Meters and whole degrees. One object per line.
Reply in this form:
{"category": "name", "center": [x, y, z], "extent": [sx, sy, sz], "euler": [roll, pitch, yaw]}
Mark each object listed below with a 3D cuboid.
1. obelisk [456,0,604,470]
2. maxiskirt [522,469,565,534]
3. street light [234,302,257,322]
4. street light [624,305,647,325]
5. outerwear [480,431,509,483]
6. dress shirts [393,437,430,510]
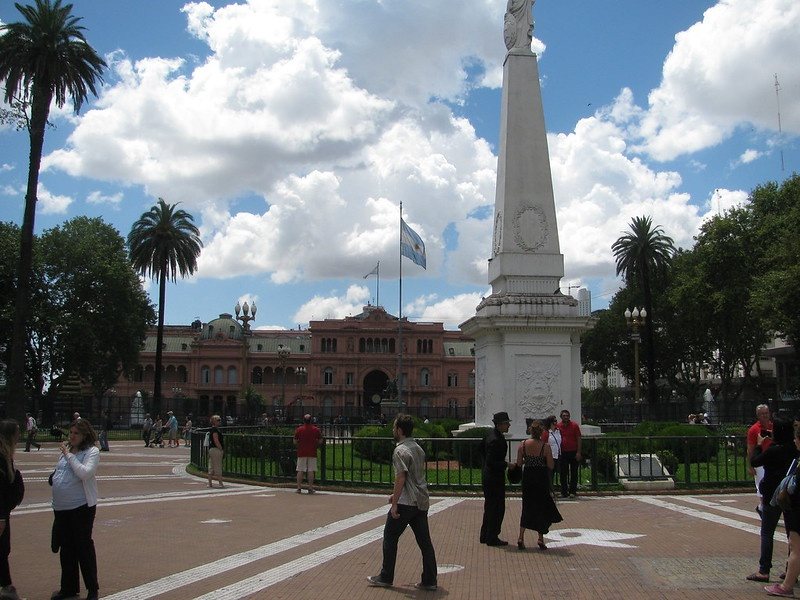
{"category": "obelisk", "center": [4.230, -3.414, 26.089], "extent": [3.513, 16.023, 2.101], "euler": [-2, -8, 9]}
{"category": "maxiskirt", "center": [2.437, 3.522, 13.250], "extent": [0.664, 1.156, 0.259], "euler": [-2, -8, 11]}
{"category": "street light", "center": [-9.543, 0.784, 46.527], "extent": [1.337, 1.829, 0.481], "euler": [1, -13, -10]}
{"category": "street light", "center": [14.901, 0.926, 47.810], "extent": [1.355, 1.737, 0.449], "euler": [3, -12, -8]}
{"category": "outerwear", "center": [1.717, 2.905, 13.713], "extent": [0.434, 1.087, 0.711], "euler": [-3, 8, 2]}
{"category": "dress shirts", "center": [0.151, 2.655, 11.474], "extent": [0.535, 1.090, 0.338], "euler": [2, -8, -17]}
